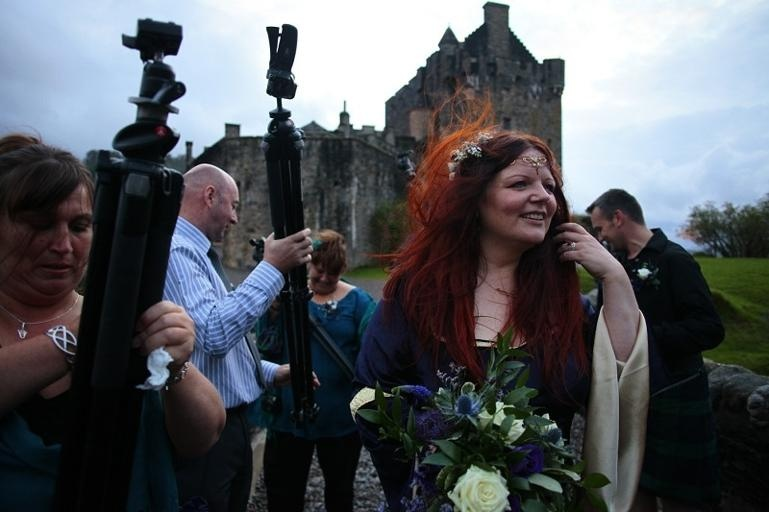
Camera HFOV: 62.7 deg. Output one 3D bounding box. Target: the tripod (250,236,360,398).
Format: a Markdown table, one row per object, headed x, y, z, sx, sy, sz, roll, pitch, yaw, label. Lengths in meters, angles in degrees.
| x | y | z | sx | sy | sz | roll | pitch | yaw | label |
| --- | --- | --- | --- | --- | --- | --- | --- | --- | --- |
| -0.549 | 0.458 | 4.268 | 0.147 | 1.106 | 0.321 | -25 | -11 | 7 | tripod |

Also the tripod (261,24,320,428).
| x | y | z | sx | sy | sz | roll | pitch | yaw | label |
| --- | --- | --- | --- | --- | --- | --- | --- | --- | --- |
| -0.554 | -0.070 | 3.662 | 0.331 | 2.321 | 0.852 | 3 | 4 | -1 | tripod |

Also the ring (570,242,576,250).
| x | y | z | sx | sy | sz | roll | pitch | yaw | label |
| --- | --- | --- | --- | --- | --- | --- | --- | --- | --- |
| 1.034 | -0.055 | 3.471 | 0.030 | 0.034 | 0.008 | -22 | -27 | 35 | ring |

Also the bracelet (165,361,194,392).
| x | y | z | sx | sy | sz | roll | pitch | yaw | label |
| --- | --- | --- | --- | --- | --- | --- | --- | --- | --- |
| -0.905 | 0.522 | 2.773 | 0.044 | 0.123 | 0.103 | 37 | 11 | -10 | bracelet |

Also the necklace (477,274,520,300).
| x | y | z | sx | sy | sz | roll | pitch | yaw | label |
| --- | --- | --- | --- | --- | --- | --- | --- | --- | --- |
| 0.615 | 0.175 | 3.440 | 0.235 | 0.103 | 0.076 | 18 | 1 | 8 | necklace |
